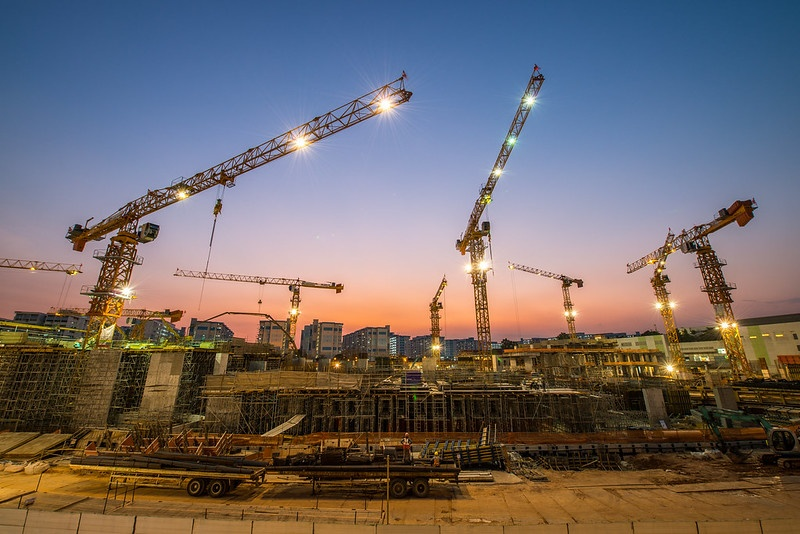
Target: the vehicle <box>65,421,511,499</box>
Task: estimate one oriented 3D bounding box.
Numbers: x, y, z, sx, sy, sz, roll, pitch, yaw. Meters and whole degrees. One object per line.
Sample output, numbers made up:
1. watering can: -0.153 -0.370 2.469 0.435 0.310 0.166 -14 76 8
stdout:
1. vehicle: -9.810 16.185 34.247 38.639 4.259 5.132 -1 -4 -1
